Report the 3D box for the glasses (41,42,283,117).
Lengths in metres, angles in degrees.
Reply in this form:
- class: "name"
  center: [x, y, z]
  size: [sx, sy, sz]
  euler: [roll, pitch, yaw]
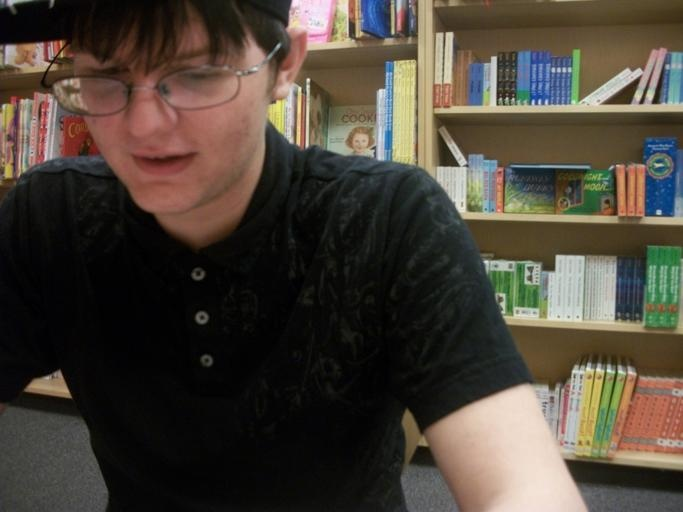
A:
- class: "glasses"
  center: [-0.316, -0.282, 1.005]
  size: [0.362, 0.089, 0.109]
  euler: [1, 11, 11]
